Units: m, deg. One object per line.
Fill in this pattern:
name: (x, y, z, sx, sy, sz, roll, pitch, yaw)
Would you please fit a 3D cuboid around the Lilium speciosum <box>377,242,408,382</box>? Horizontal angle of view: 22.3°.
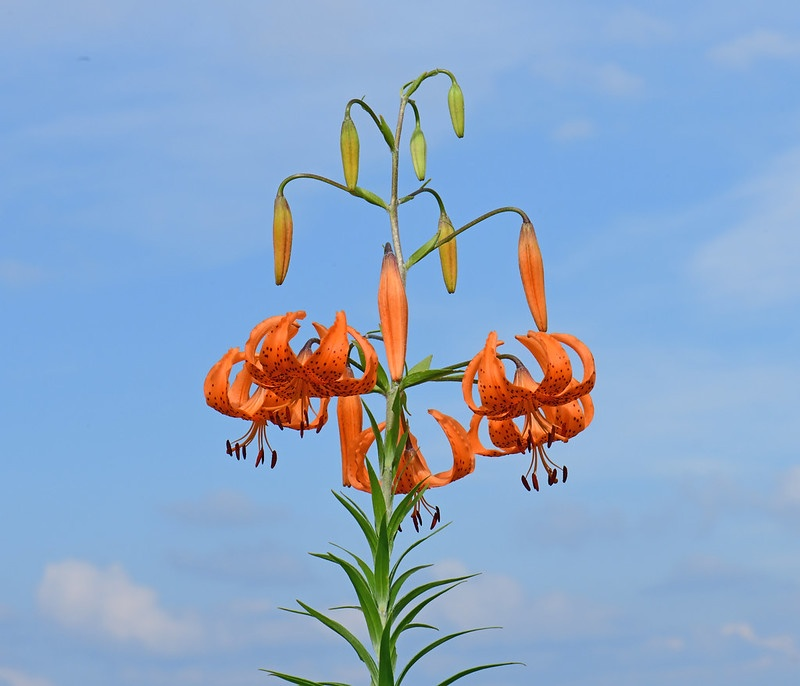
Lilium speciosum: (-0.029, -0.125, 8.395, 0.111, 0.567, 0.223, -5, -14, 0)
